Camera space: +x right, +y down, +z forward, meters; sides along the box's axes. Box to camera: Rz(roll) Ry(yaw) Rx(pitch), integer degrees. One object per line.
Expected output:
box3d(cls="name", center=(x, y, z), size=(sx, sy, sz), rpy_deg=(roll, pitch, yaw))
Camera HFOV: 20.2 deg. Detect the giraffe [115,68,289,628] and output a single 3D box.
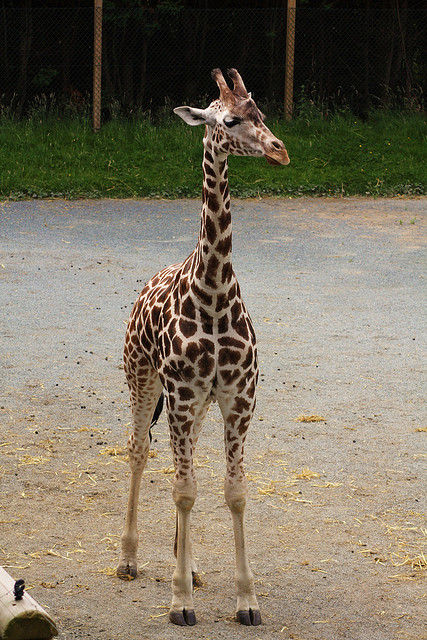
box3d(cls="giraffe", center=(-0.040, 0.116, 5.541), size=(0.439, 2.501, 1.006), rpy_deg=(1, 7, -30))
